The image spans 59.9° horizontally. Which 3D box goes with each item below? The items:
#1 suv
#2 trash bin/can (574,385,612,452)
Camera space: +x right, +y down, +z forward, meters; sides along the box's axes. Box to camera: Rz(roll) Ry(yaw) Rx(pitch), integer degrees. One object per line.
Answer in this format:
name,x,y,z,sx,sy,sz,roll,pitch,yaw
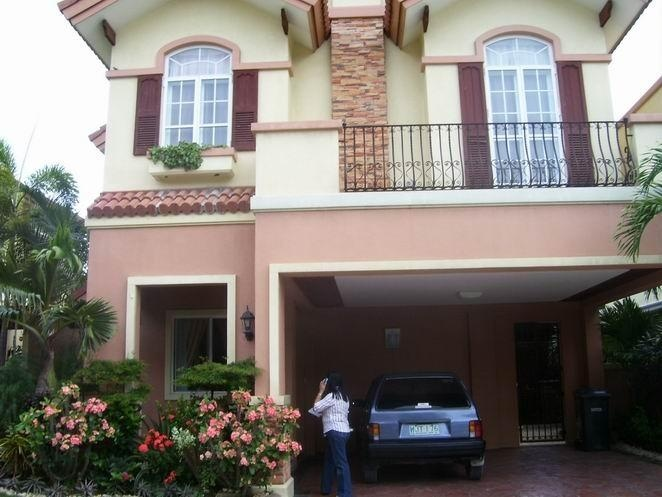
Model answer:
suv,1.826,3.646,12.055,2.206,1.954,4.126,-3,-12,7
trash bin/can,6.193,4.042,13.633,0.741,1.391,0.945,0,-15,15
